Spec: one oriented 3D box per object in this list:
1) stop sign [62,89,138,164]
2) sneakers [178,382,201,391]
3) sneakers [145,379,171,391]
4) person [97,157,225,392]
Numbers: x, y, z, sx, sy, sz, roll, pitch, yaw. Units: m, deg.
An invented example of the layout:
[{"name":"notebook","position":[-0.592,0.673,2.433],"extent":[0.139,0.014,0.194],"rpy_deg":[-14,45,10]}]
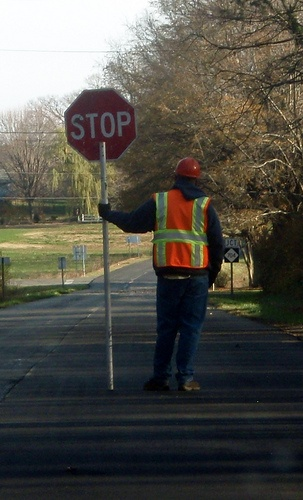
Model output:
[{"name":"stop sign","position":[-0.418,-1.006,6.711],"extent":[0.563,0.579,0.237],"rpy_deg":[2,0,-9]},{"name":"sneakers","position":[0.290,1.048,6.400],"extent":[0.163,0.084,0.065],"rpy_deg":[-5,9,-21]},{"name":"sneakers","position":[0.041,1.055,6.487],"extent":[0.166,0.112,0.086],"rpy_deg":[6,-7,9]},{"name":"person","position":[0.136,0.286,6.398],"extent":[0.808,1.731,0.328],"rpy_deg":[1,0,3]}]
